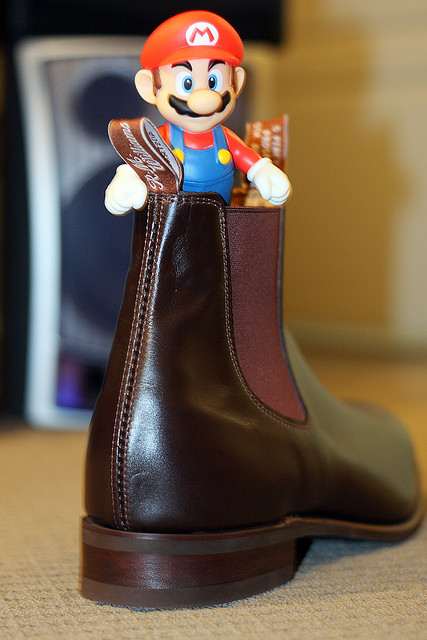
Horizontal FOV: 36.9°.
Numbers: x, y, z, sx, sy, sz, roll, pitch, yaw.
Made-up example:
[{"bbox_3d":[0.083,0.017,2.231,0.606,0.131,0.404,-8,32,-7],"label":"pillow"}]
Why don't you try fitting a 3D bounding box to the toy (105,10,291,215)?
[{"bbox_3d":[0.000,-0.130,0.407,0.070,0.111,0.105,-13,40,-17],"label":"toy"}]
